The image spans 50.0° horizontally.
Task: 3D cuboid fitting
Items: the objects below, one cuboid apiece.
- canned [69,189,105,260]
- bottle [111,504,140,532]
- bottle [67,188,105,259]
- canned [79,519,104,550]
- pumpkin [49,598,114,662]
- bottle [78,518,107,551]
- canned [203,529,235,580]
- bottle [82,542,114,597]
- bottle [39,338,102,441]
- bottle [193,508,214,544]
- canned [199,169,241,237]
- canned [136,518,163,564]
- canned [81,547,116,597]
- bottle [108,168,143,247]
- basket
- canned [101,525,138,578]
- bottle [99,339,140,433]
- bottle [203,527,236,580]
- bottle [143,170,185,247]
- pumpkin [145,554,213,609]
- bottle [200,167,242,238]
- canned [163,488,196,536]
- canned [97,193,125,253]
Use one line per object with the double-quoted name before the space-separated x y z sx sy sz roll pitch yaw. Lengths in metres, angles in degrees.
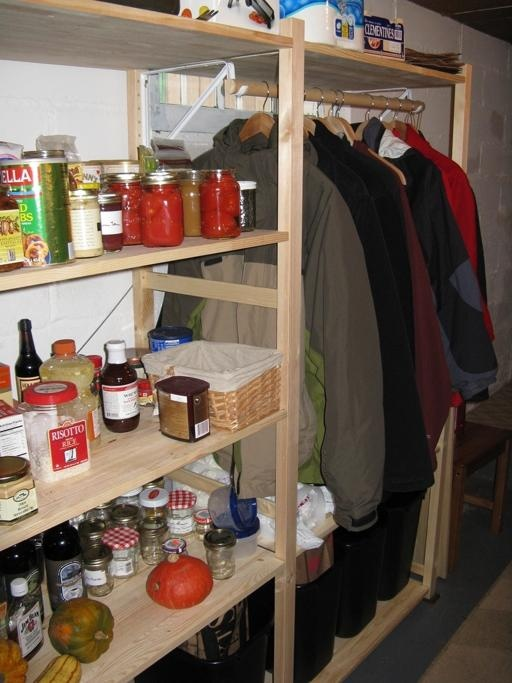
"canned" -0.223 -0.157 0.735 0.049 0.081 0.051 -6 13 -23
"bottle" -0.287 0.383 1.202 0.051 0.049 0.052 -1 12 -4
"bottle" -0.223 -0.154 0.723 0.021 0.088 0.055 3 11 25
"canned" -0.338 0.391 1.120 0.041 0.044 0.042 5 14 9
"pumpkin" -0.295 0.495 0.977 0.081 0.087 0.081 27 -5 -11
"bottle" -0.335 0.393 1.118 0.044 0.047 0.045 2 10 2
"canned" -0.080 0.478 1.230 0.090 0.100 0.091 -1 18 2
"bottle" -0.326 0.473 1.132 0.052 0.091 0.057 -1 17 0
"bottle" -0.309 0.082 0.908 0.088 0.171 0.204 -5 11 -16
"bottle" -0.132 0.446 1.350 0.055 0.075 0.069 4 20 9
"canned" -0.064 -0.241 0.954 0.066 0.114 0.070 2 23 5
"canned" -0.244 0.467 1.281 0.056 0.096 0.061 -3 17 -16
"canned" -0.323 0.470 1.134 0.057 0.099 0.060 -1 4 25
"bottle" -0.214 -0.212 0.881 0.062 0.110 0.062 2 17 -1
"basket" -0.071 0.063 1.090 0.220 0.111 0.165 18 28 39
"canned" -0.293 0.484 1.210 0.061 0.069 0.062 -12 -8 43
"bottle" -0.249 0.080 0.990 0.065 0.171 0.125 -4 10 -13
"bottle" -0.065 0.475 1.263 0.090 0.101 0.092 -1 18 4
"bottle" -0.147 -0.204 0.862 0.063 0.111 0.062 -2 10 0
"pumpkin" -0.154 0.488 1.112 0.108 0.080 0.110 10 21 32
"bottle" -0.064 -0.239 0.955 0.071 0.116 0.070 0 18 0
"canned" -0.187 0.447 1.361 0.074 0.102 0.072 2 -8 -43
"canned" -0.205 -0.170 0.794 0.049 0.083 0.049 6 9 38
